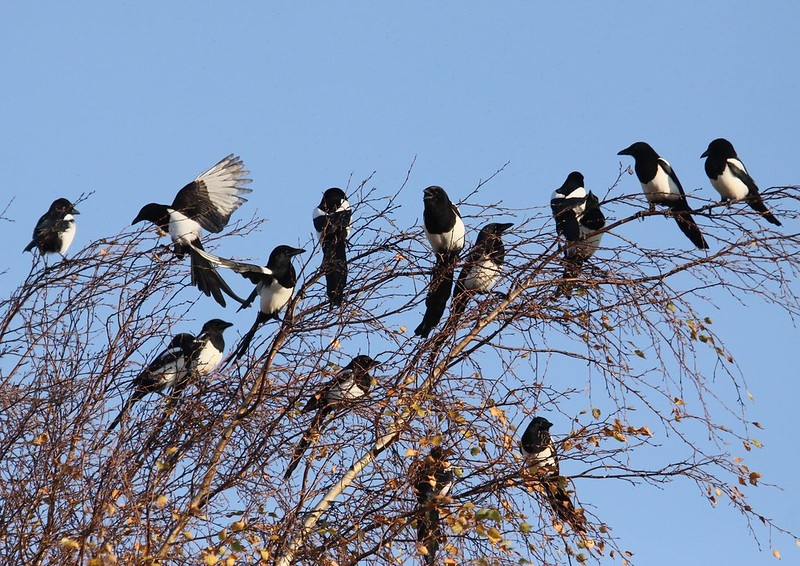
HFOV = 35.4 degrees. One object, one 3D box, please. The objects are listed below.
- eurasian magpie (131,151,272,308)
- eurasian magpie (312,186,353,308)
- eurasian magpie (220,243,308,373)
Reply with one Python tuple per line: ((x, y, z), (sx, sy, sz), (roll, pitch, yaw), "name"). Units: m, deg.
((-1.554, -0.298, 9.717), (0.805, 1.226, 0.497), (21, -42, 21), "eurasian magpie")
((-0.511, -0.220, 9.636), (0.305, 1.181, 0.465), (0, -34, 6), "eurasian magpie")
((-0.921, 0.189, 8.728), (0.553, 0.822, 0.442), (-27, -94, 15), "eurasian magpie")
